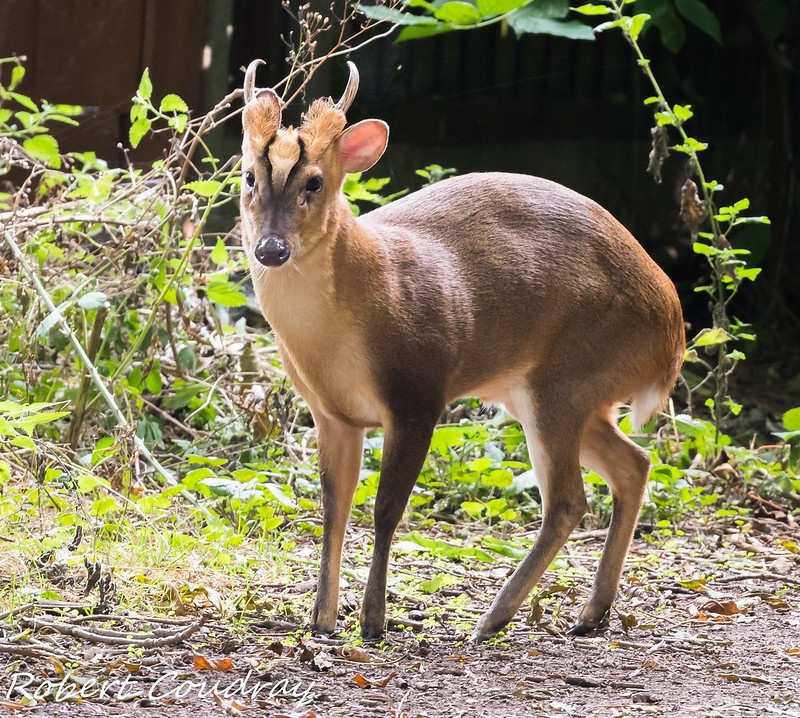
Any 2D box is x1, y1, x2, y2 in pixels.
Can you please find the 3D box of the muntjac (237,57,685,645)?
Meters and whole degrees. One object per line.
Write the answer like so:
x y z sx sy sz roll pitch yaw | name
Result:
0.155 -0.012 4.411 2.275 2.165 0.854 5 -5 -42 | muntjac
